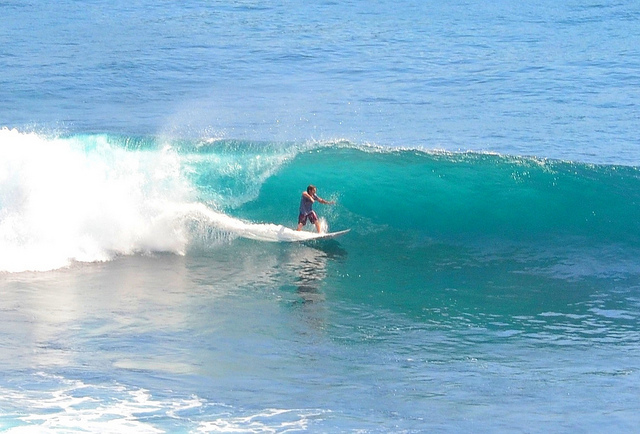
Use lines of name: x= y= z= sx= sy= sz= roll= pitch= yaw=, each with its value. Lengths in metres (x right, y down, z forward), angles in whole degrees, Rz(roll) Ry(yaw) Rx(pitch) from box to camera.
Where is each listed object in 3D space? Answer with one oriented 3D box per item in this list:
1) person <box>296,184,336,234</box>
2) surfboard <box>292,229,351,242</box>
person: x=-0.264 y=-0.337 z=32.480 sx=0.962 sy=1.445 sz=1.530 roll=1 pitch=15 yaw=-1
surfboard: x=-0.030 y=0.574 z=32.022 sx=2.244 sy=0.137 sz=0.231 roll=-4 pitch=44 yaw=-15
